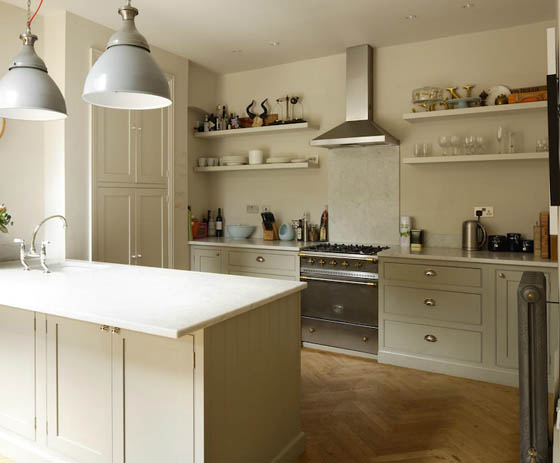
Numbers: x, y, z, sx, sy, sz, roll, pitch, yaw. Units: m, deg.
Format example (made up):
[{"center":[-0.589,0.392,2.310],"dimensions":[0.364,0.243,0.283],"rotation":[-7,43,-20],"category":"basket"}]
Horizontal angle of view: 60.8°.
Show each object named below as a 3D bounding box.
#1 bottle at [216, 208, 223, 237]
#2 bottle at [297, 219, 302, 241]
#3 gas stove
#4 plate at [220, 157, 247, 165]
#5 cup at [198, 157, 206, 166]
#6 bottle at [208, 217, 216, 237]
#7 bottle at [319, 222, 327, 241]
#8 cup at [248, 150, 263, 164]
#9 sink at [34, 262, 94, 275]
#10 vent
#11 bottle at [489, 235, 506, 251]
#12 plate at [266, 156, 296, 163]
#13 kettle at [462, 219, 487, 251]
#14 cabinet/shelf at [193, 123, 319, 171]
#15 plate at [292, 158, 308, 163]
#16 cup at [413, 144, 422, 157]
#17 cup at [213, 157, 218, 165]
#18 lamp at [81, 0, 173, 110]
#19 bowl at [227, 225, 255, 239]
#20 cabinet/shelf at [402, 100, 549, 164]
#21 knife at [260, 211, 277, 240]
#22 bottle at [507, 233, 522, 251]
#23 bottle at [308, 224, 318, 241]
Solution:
[{"center":[-0.737,-0.110,5.761],"dimensions":[0.092,0.329,0.131],"rotation":[1,9,9],"category":"bottle"},{"center":[0.219,-0.014,5.213],"dimensions":[0.060,0.211,0.123],"rotation":[0,9,2],"category":"bottle"},{"center":[0.597,0.270,4.510],"dimensions":[0.788,0.282,0.382],"rotation":[5,11,26],"category":"gas stove"},{"center":[-0.538,-0.799,5.453],"dimensions":[0.160,0.065,0.167],"rotation":[0,5,28],"category":"plate"},{"center":[-0.915,-0.809,5.599],"dimensions":[0.076,0.080,0.096],"rotation":[-1,-5,6],"category":"cup"},{"center":[-0.833,-0.058,5.787],"dimensions":[0.097,0.211,0.104],"rotation":[0,9,0],"category":"bottle"},{"center":[0.467,0.002,5.116],"dimensions":[0.085,0.199,0.034],"rotation":[5,10,28],"category":"bottle"},{"center":[-0.286,-0.822,5.334],"dimensions":[0.144,0.138,0.149],"rotation":[1,6,0],"category":"cup"},{"center":[-1.687,0.274,3.564],"dimensions":[0.188,0.090,0.245],"rotation":[4,7,16],"category":"sink"},{"center":[0.842,-1.340,4.839],"dimensions":[0.909,1.010,0.950],"rotation":[0,2,1],"category":"vent"},{"center":[1.922,0.106,4.213],"dimensions":[0.119,0.128,0.128],"rotation":[-3,-3,43],"category":"bottle"},{"center":[-0.015,-0.785,5.282],"dimensions":[0.314,0.071,0.266],"rotation":[4,10,20],"category":"plate"},{"center":[1.734,0.022,4.303],"dimensions":[0.177,0.276,0.220],"rotation":[-8,16,-6],"category":"kettle"},{"center":[-0.291,-0.924,5.365],"dimensions":[1.476,0.538,0.389],"rotation":[5,11,29],"category":"cabinet/shelf"},{"center":[0.204,-0.758,5.137],"dimensions":[0.167,0.044,0.247],"rotation":[0,10,2],"category":"plate"},{"center":[1.299,-0.762,4.471],"dimensions":[0.093,0.117,0.085],"rotation":[2,3,0],"category":"cup"},{"center":[-0.751,-0.807,5.574],"dimensions":[0.062,0.091,0.060],"rotation":[0,6,0],"category":"cup"},{"center":[-0.789,-0.913,2.414],"dimensions":[0.425,0.551,0.400],"rotation":[-4,10,-23],"category":"lamp"},{"center":[-0.439,0.005,5.483],"dimensions":[0.296,0.176,0.355],"rotation":[0,10,0],"category":"bowl"},{"center":[1.769,-0.868,4.328],"dimensions":[1.261,0.477,0.356],"rotation":[4,15,39],"category":"cabinet/shelf"},{"center":[-0.104,-0.059,5.349],"dimensions":[0.179,0.287,0.179],"rotation":[-3,10,-19],"category":"knife"},{"center":[2.037,0.097,4.159],"dimensions":[0.112,0.141,0.119],"rotation":[0,9,0],"category":"bottle"},{"center":[0.365,0.012,5.195],"dimensions":[0.118,0.167,0.117],"rotation":[0,9,0],"category":"bottle"}]
